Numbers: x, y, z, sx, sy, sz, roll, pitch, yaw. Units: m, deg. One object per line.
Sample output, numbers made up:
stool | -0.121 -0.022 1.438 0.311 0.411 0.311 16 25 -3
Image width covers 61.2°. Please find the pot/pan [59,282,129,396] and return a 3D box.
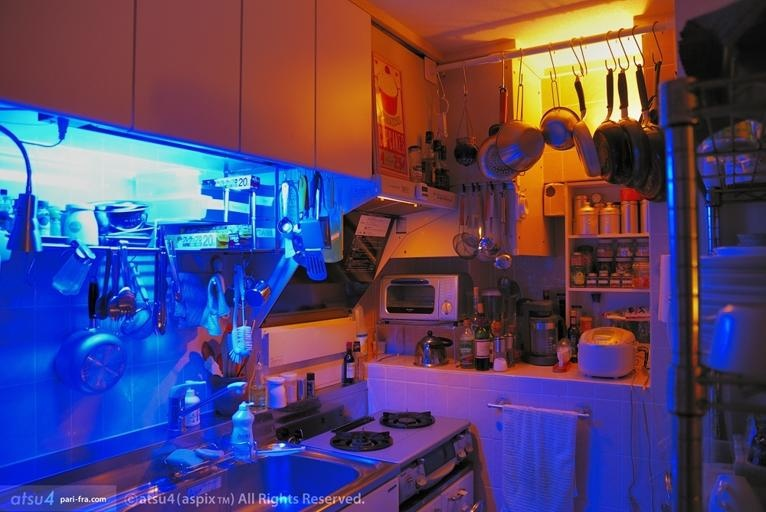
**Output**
pot/pan | -1.103 0.296 2.451 0.130 0.400 0.207 7 7 27

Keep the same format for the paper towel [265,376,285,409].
paper towel | -0.521 0.662 3.131 0.097 0.138 0.059 -1 1 -10

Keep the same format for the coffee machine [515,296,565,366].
coffee machine | 0.855 0.431 3.737 0.189 0.261 0.380 -1 2 -20

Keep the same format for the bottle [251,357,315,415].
bottle | -0.519 0.612 3.163 0.207 0.234 0.165 7 8 13

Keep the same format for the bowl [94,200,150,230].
bowl | -0.998 -0.148 2.446 0.182 0.116 0.071 -2 1 -28

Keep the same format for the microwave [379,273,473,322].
microwave | 0.231 0.254 3.732 0.411 0.266 0.308 -2 -10 30

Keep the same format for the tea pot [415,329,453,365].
tea pot | 0.304 0.521 3.685 0.252 0.196 0.167 -1 1 7

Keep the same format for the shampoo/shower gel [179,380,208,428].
shampoo/shower gel | -0.822 0.639 2.799 0.084 0.198 0.206 -1 1 -12

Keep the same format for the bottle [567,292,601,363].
bottle | 1.187 0.419 3.869 0.122 0.385 0.264 3 6 27

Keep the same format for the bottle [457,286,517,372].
bottle | 0.565 0.425 3.599 0.193 0.621 0.246 -2 -4 39

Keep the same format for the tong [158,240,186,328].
tong | -0.873 0.120 2.655 0.105 0.390 0.206 -1 1 -16

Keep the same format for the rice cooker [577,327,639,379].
rice cooker | 1.154 0.495 3.323 0.294 0.245 0.295 -1 4 -14

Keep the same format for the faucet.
faucet | -0.729 0.627 2.744 0.382 0.245 0.152 -2 28 11
